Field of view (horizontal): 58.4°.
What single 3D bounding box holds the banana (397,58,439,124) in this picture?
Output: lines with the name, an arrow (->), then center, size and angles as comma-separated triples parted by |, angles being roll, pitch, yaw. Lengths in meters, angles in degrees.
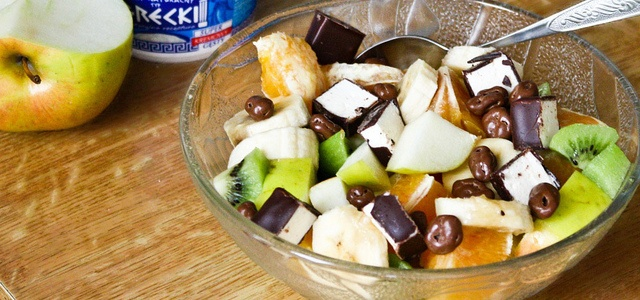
banana -> 0.395, -0.239, 2.368 | 0.155, 0.231, 0.221 | -10, 28, 8

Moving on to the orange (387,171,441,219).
orange -> 0.366, 0.161, 2.143 | 0.192, 0.102, 0.158 | 26, 45, 9

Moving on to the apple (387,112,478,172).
apple -> 0.430, -0.017, 2.193 | 0.346, 0.125, 0.231 | -18, 95, -6

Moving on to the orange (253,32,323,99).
orange -> -0.127, -0.341, 2.345 | 0.305, 0.104, 0.260 | 5, 82, -22

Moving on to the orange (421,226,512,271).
orange -> 0.538, 0.361, 2.069 | 0.282, 0.146, 0.118 | 2, 47, -16
